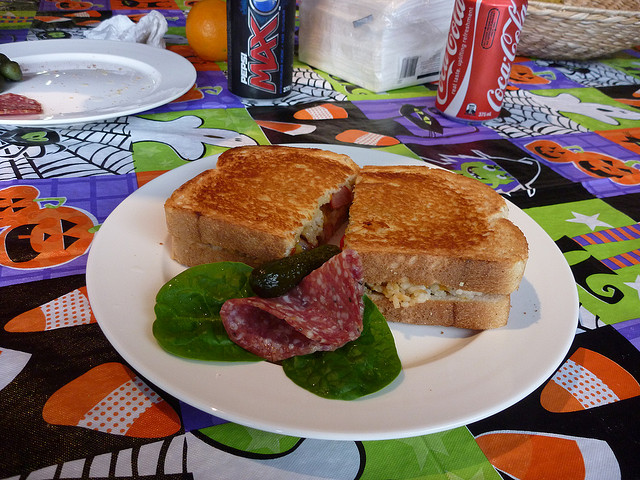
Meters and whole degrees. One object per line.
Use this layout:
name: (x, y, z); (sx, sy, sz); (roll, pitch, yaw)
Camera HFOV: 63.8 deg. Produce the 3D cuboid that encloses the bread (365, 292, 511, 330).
bread: (0.364, 0.192, 1.534); (0.371, 0.057, 0.173); (-4, 10, 35)
